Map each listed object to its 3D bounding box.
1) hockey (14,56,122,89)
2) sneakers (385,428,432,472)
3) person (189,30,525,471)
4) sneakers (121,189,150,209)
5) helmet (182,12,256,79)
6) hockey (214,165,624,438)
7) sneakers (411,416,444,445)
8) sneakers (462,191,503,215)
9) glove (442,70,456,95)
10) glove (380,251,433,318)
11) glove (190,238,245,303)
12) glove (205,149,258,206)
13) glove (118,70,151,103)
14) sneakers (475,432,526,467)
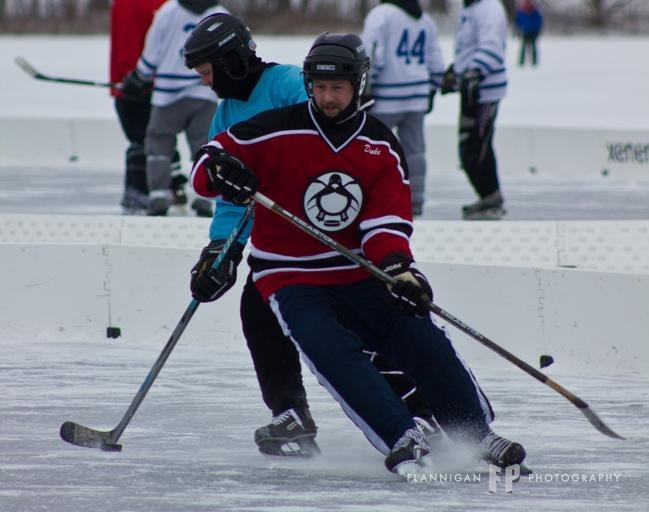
[{"bbox_3d":[-1.407,-0.989,8.831,0.532,0.219,1.288,-1,10,-11],"label":"hockey"},{"bbox_3d":[0.331,0.753,6.230,0.175,0.154,0.077,-2,10,-18],"label":"sneakers"},{"bbox_3d":[0.114,-0.036,6.414,1.223,1.658,0.484,6,11,26],"label":"person"},{"bbox_3d":[-0.973,-0.283,8.401,0.111,0.113,0.041,30,-7,17],"label":"sneakers"},{"bbox_3d":[-0.433,-0.888,6.811,0.308,0.276,0.234,-21,28,-8],"label":"helmet"},{"bbox_3d":[0.390,0.252,6.944,2.247,0.168,0.103,28,45,0],"label":"hockey"},{"bbox_3d":[0.432,0.709,6.493,0.126,0.046,0.092,43,1,34],"label":"sneakers"},{"bbox_3d":[0.831,-0.260,8.268,0.241,0.103,0.090,-7,7,27],"label":"sneakers"},{"bbox_3d":[0.661,-0.908,8.498,0.056,0.108,0.065,-1,-11,-9],"label":"glove"},{"bbox_3d":[0.330,0.122,6.354,0.261,0.154,0.104,47,25,26],"label":"glove"},{"bbox_3d":[-0.413,0.051,6.651,0.163,0.282,0.066,32,-3,22],"label":"glove"},{"bbox_3d":[-0.351,-0.304,6.446,0.243,0.141,0.089,46,3,1],"label":"glove"},{"bbox_3d":[-0.950,-0.860,8.297,0.170,0.126,0.163,-8,46,-2],"label":"glove"},{"bbox_3d":[0.700,0.768,6.317,0.185,0.122,0.091,4,10,17],"label":"sneakers"}]
